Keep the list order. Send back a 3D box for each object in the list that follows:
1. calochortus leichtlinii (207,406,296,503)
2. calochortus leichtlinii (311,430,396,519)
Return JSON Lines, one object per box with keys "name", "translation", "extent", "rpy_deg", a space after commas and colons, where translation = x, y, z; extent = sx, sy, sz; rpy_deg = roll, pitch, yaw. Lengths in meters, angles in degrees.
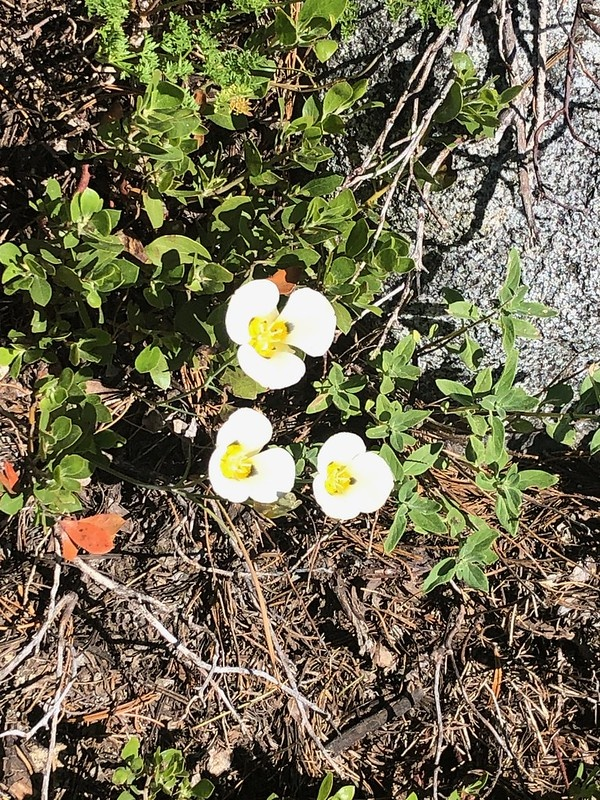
{"name": "calochortus leichtlinii", "translation": [-0.151, 0.162, 1.719], "extent": [0.209, 0.104, 0.217], "rpy_deg": [31, 30, 2]}
{"name": "calochortus leichtlinii", "translation": [0.123, 0.208, 1.769], "extent": [0.210, 0.173, 0.174], "rpy_deg": [-2, 44, -26]}
